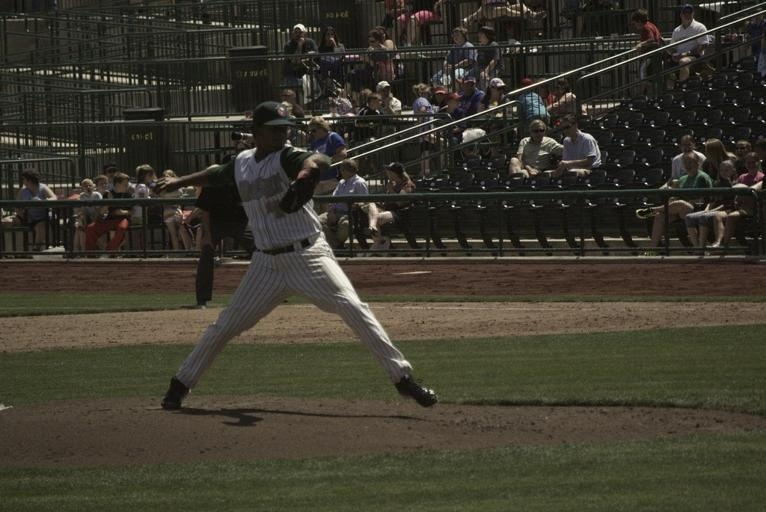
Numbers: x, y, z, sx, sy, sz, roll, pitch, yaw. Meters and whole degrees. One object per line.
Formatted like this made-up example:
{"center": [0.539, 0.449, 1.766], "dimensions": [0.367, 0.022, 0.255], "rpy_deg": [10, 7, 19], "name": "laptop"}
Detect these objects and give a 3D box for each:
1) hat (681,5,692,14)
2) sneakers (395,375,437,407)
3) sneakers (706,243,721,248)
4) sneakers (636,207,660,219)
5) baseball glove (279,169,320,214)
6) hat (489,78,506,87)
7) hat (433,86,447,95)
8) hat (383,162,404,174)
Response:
{"center": [6.154, -4.924, 33.494], "dimensions": [0.253, 0.211, 0.265], "rpy_deg": [4, 14, 14], "name": "hat"}
{"center": [0.459, 1.860, 23.229], "dimensions": [0.601, 0.251, 0.187], "rpy_deg": [24, 38, -3], "name": "sneakers"}
{"center": [5.773, -0.203, 28.949], "dimensions": [0.231, 0.103, 0.037], "rpy_deg": [-1, 3, 10], "name": "sneakers"}
{"center": [4.695, -0.779, 29.293], "dimensions": [0.468, 0.145, 0.199], "rpy_deg": [-12, -10, 18], "name": "sneakers"}
{"center": [-1.096, -0.874, 22.583], "dimensions": [0.406, 0.699, 0.208], "rpy_deg": [40, 11, -34], "name": "baseball glove"}
{"center": [2.308, -3.436, 33.241], "dimensions": [0.238, 0.147, 0.330], "rpy_deg": [0, 4, -15], "name": "hat"}
{"center": [1.183, -3.351, 33.983], "dimensions": [0.292, 0.127, 0.415], "rpy_deg": [0, 2, 6], "name": "hat"}
{"center": [0.270, -1.641, 30.793], "dimensions": [0.356, 0.240, 0.260], "rpy_deg": [-9, 15, -31], "name": "hat"}
